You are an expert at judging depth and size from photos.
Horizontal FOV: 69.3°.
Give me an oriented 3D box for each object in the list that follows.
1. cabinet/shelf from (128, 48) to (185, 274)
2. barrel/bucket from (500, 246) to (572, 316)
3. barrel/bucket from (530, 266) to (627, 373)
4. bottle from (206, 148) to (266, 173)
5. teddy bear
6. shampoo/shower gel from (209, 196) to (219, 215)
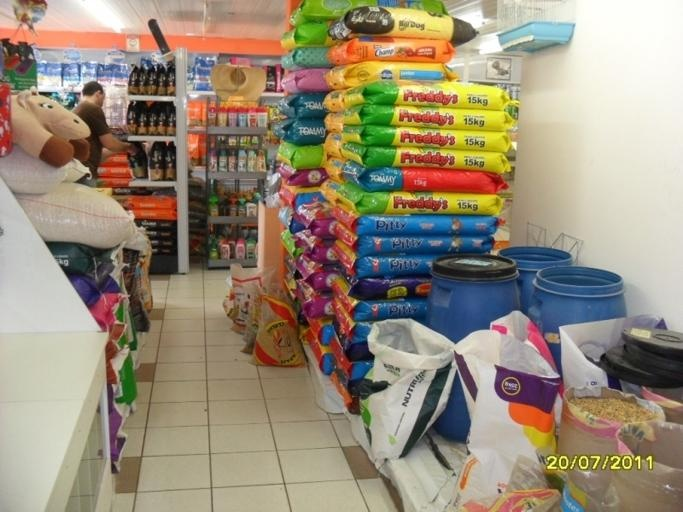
[{"bbox_3d":[-2.159,-1.123,6.046,0.584,2.676,0.404,0,14,-9],"label":"cabinet/shelf"},{"bbox_3d":[1.082,0.103,2.758,0.372,0.383,0.374,-1,7,0],"label":"barrel/bucket"},{"bbox_3d":[1.054,0.270,2.467,0.468,0.512,0.470,-1,6,0],"label":"barrel/bucket"},{"bbox_3d":[-1.370,-1.243,6.461,0.737,0.288,0.171,-2,14,-15],"label":"bottle"},{"bbox_3d":[-1.293,-0.575,2.209,0.285,0.325,0.543,-5,15,-27],"label":"teddy bear"},{"bbox_3d":[-1.674,-0.658,6.478,0.122,0.240,0.129,-2,14,-14],"label":"shampoo/shower gel"}]
